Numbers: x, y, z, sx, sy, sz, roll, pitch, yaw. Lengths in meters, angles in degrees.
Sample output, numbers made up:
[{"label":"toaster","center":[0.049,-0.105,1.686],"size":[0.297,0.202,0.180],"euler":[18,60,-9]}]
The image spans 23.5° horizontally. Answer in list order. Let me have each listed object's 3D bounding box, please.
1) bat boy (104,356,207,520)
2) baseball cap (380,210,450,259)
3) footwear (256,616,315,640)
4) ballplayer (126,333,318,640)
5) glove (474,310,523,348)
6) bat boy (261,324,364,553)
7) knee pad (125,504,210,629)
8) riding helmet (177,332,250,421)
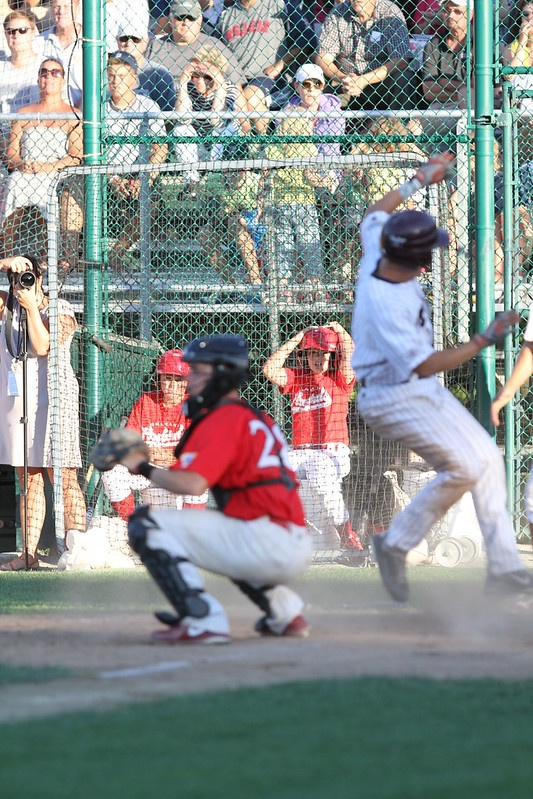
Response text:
[{"label":"bat boy","center":[-0.631,0.170,7.263],"size":[0.588,0.959,0.594],"euler":[6,8,25]},{"label":"baseball cap","center":[0.565,-0.604,4.798],"size":[0.264,0.196,0.169],"euler":[-2,3,-5]},{"label":"footwear","center":[0.062,0.857,4.822],"size":[0.177,0.065,0.084],"euler":[-4,-4,20]},{"label":"ballplayer","center":[-0.220,0.322,4.739],"size":[0.779,1.040,0.546],"euler":[0,0,-25]},{"label":"glove","center":[0.893,-0.268,4.916],"size":[0.154,0.133,0.268],"euler":[-1,2,16]},{"label":"bat boy","center":[0.335,0.246,7.546],"size":[0.666,1.223,0.614],"euler":[0,-5,5]},{"label":"knee pad","center":[-0.307,0.572,4.590],"size":[0.182,0.422,0.269],"euler":[-40,25,-27]},{"label":"riding helmet","center":[-0.162,-0.079,4.496],"size":[0.328,0.361,0.300],"euler":[2,-3,2]}]
